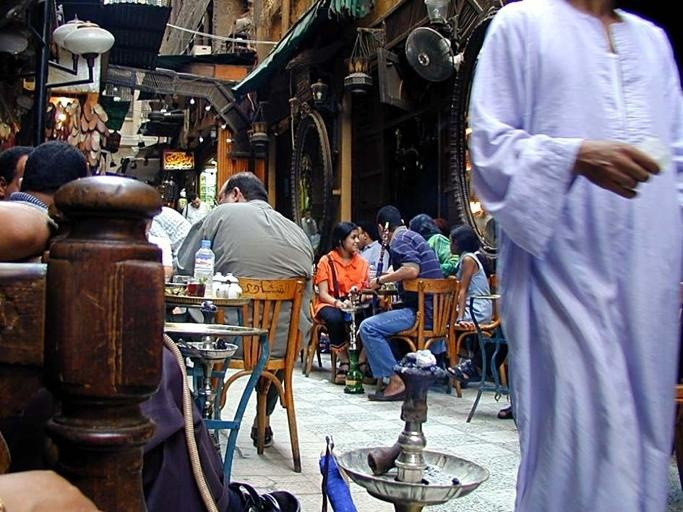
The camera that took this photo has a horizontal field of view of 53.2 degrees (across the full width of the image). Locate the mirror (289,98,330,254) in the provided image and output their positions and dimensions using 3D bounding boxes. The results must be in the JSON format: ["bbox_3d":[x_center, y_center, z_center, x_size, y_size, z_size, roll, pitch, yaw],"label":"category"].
[{"bbox_3d":[-0.475,-1.359,10.939,0.136,2.892,2.641,0,1,-15],"label":"mirror"}]

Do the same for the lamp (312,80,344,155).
[{"bbox_3d":[-0.310,-2.277,10.846,0.616,1.170,0.494,6,-1,-41],"label":"lamp"}]

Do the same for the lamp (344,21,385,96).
[{"bbox_3d":[0.313,-2.745,9.475,0.507,1.003,0.415,3,-8,-1],"label":"lamp"}]

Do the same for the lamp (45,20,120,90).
[{"bbox_3d":[-2.887,-2.197,7.431,0.771,0.667,0.519,-12,20,-21],"label":"lamp"}]

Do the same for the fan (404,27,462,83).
[{"bbox_3d":[0.986,-2.459,7.837,0.570,0.241,0.544,-3,36,-29],"label":"fan"}]
